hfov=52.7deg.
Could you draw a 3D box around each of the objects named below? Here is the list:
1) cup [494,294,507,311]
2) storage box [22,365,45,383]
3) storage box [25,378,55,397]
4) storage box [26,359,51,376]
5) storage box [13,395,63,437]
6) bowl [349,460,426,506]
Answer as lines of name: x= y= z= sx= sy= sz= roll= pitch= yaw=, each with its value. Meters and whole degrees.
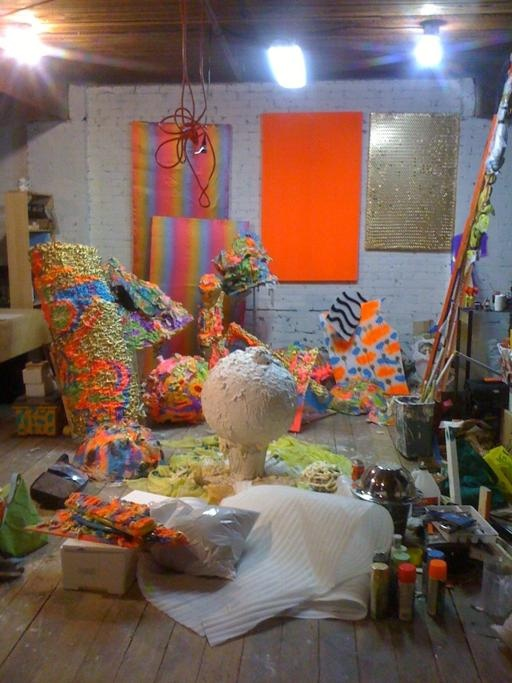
cup: x=2.123 y=-0.339 z=4.580 sx=0.106 sy=0.146 sz=0.158 roll=0 pitch=4 yaw=20
storage box: x=-1.648 y=0.240 z=3.835 sx=0.134 sy=0.121 sz=0.135 roll=-2 pitch=0 yaw=39
storage box: x=-1.644 y=0.378 z=3.917 sx=0.117 sy=0.086 sz=0.205 roll=3 pitch=5 yaw=7
storage box: x=-1.638 y=0.195 z=3.874 sx=0.112 sy=0.065 sz=0.113 roll=-2 pitch=8 yaw=-11
storage box: x=-1.602 y=0.553 z=3.802 sx=0.317 sy=0.202 sz=0.297 roll=1 pitch=3 yaw=-7
bowl: x=0.586 y=0.642 z=2.335 sx=0.267 sy=0.086 sz=0.251 roll=2 pitch=5 yaw=0
